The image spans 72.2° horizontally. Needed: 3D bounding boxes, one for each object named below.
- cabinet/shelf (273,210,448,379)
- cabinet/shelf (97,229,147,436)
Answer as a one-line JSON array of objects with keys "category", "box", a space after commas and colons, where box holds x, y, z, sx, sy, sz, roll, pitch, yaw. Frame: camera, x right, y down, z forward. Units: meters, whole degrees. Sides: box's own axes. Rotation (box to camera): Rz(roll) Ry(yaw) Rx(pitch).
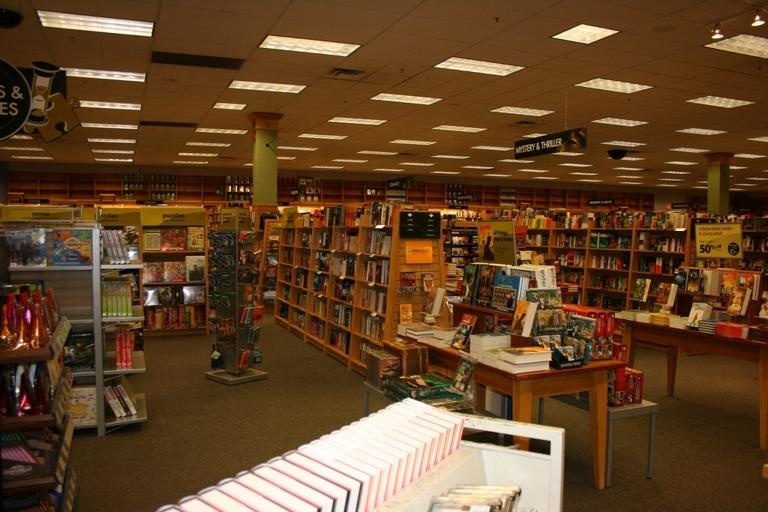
[{"category": "cabinet/shelf", "box": [-0.391, 0.635, 8.653, 1.002, 1.541, 3.584, 2, 1, -28]}, {"category": "cabinet/shelf", "box": [-3.463, 0.834, 6.850, 0.598, 2.461, 1.860, -4, 10, -25]}]
